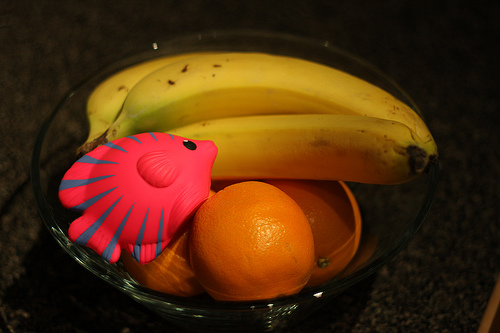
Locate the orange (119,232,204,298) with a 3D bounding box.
[{"bbox_3d":[-0.164,0.209,0.919,0.116,0.140,0.094,0,61,0],"label":"orange"}]

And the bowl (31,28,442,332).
[{"bbox_3d":[-0.009,0.041,0.971,0.636,0.316,0.714,14,36,14],"label":"bowl"}]

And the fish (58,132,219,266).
[{"bbox_3d":[-0.218,0.055,0.952,0.293,0.057,0.250,3,84,-2],"label":"fish"}]
